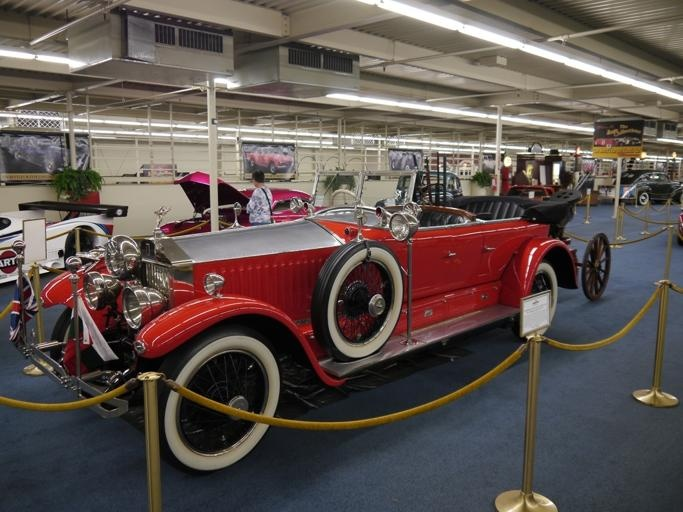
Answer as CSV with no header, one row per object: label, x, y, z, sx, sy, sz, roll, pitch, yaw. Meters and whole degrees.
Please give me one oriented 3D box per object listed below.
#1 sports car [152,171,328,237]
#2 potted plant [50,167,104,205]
sports car,-1.967,-1.126,8.707,1.487,1.094,2.515,-32,23,-33
potted plant,-6.438,-1.660,10.403,0.856,0.560,0.786,-7,2,-36
